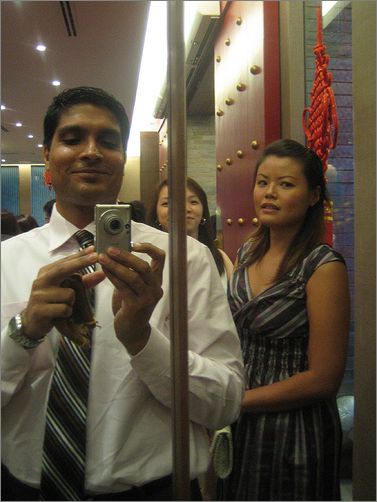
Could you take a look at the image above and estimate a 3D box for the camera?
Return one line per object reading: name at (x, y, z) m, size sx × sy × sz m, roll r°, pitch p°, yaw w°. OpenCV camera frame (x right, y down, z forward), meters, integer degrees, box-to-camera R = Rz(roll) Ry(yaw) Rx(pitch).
camera at (-0.073, -0.021, 0.412) m, size 0.037 × 0.054 × 0.032 m, roll -2°, pitch 19°, yaw -13°
